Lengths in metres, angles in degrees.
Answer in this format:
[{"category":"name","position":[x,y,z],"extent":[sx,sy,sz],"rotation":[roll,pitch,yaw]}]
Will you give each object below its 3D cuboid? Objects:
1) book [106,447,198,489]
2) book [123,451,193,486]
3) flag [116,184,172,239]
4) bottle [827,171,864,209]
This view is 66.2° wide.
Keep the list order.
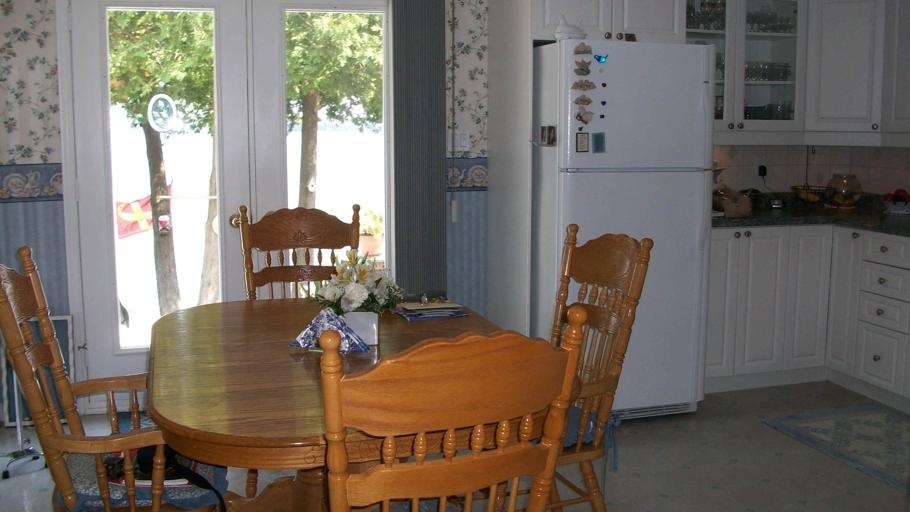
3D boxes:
[{"category":"book","position":[-1.437,1.002,3.284],"extent":[0.253,0.086,0.306],"rotation":[1,5,-16]},{"category":"book","position":[-1.415,1.006,3.286],"extent":[0.220,0.081,0.288],"rotation":[3,-8,-19]},{"category":"flag","position":[-2.357,-0.354,5.230],"extent":[0.379,0.259,0.041],"rotation":[-17,7,-11]},{"category":"bottle","position":[3.335,-0.558,6.001],"extent":[0.320,0.341,0.309],"rotation":[0,-3,-6]}]
